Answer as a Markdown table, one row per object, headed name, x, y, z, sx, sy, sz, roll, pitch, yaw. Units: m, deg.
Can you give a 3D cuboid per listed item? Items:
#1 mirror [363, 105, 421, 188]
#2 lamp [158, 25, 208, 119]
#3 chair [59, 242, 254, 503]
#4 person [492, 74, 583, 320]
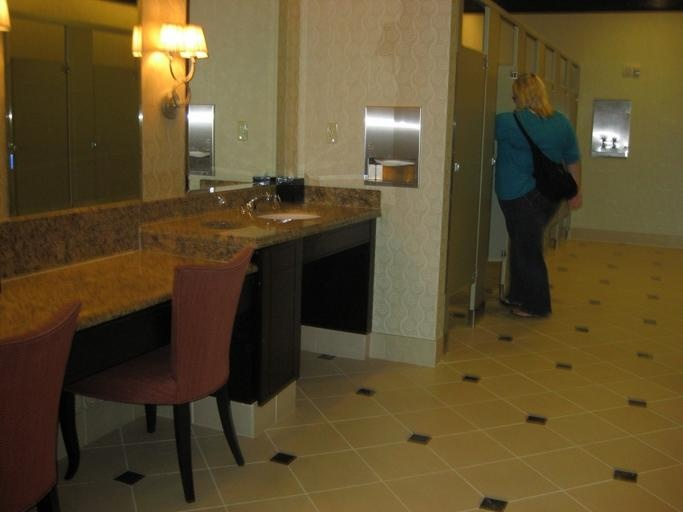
| name | x | y | z | sx | sy | sz | roll | pitch | yaw |
| --- | --- | --- | --- | --- | --- | --- | --- | --- | --- |
| mirror | 0.376 | -0.806 | 3.922 | 0.409 | 0.622 | 0.018 | 2 | -6 | 7 |
| lamp | -0.920 | -1.056 | 3.078 | 0.287 | 0.546 | 0.215 | 6 | 9 | -4 |
| chair | -0.853 | 0.522 | 2.601 | 0.686 | 1.163 | 0.726 | 9 | 10 | 21 |
| person | 1.683 | -0.483 | 4.748 | 0.722 | 2.130 | 0.432 | 3 | 13 | 12 |
